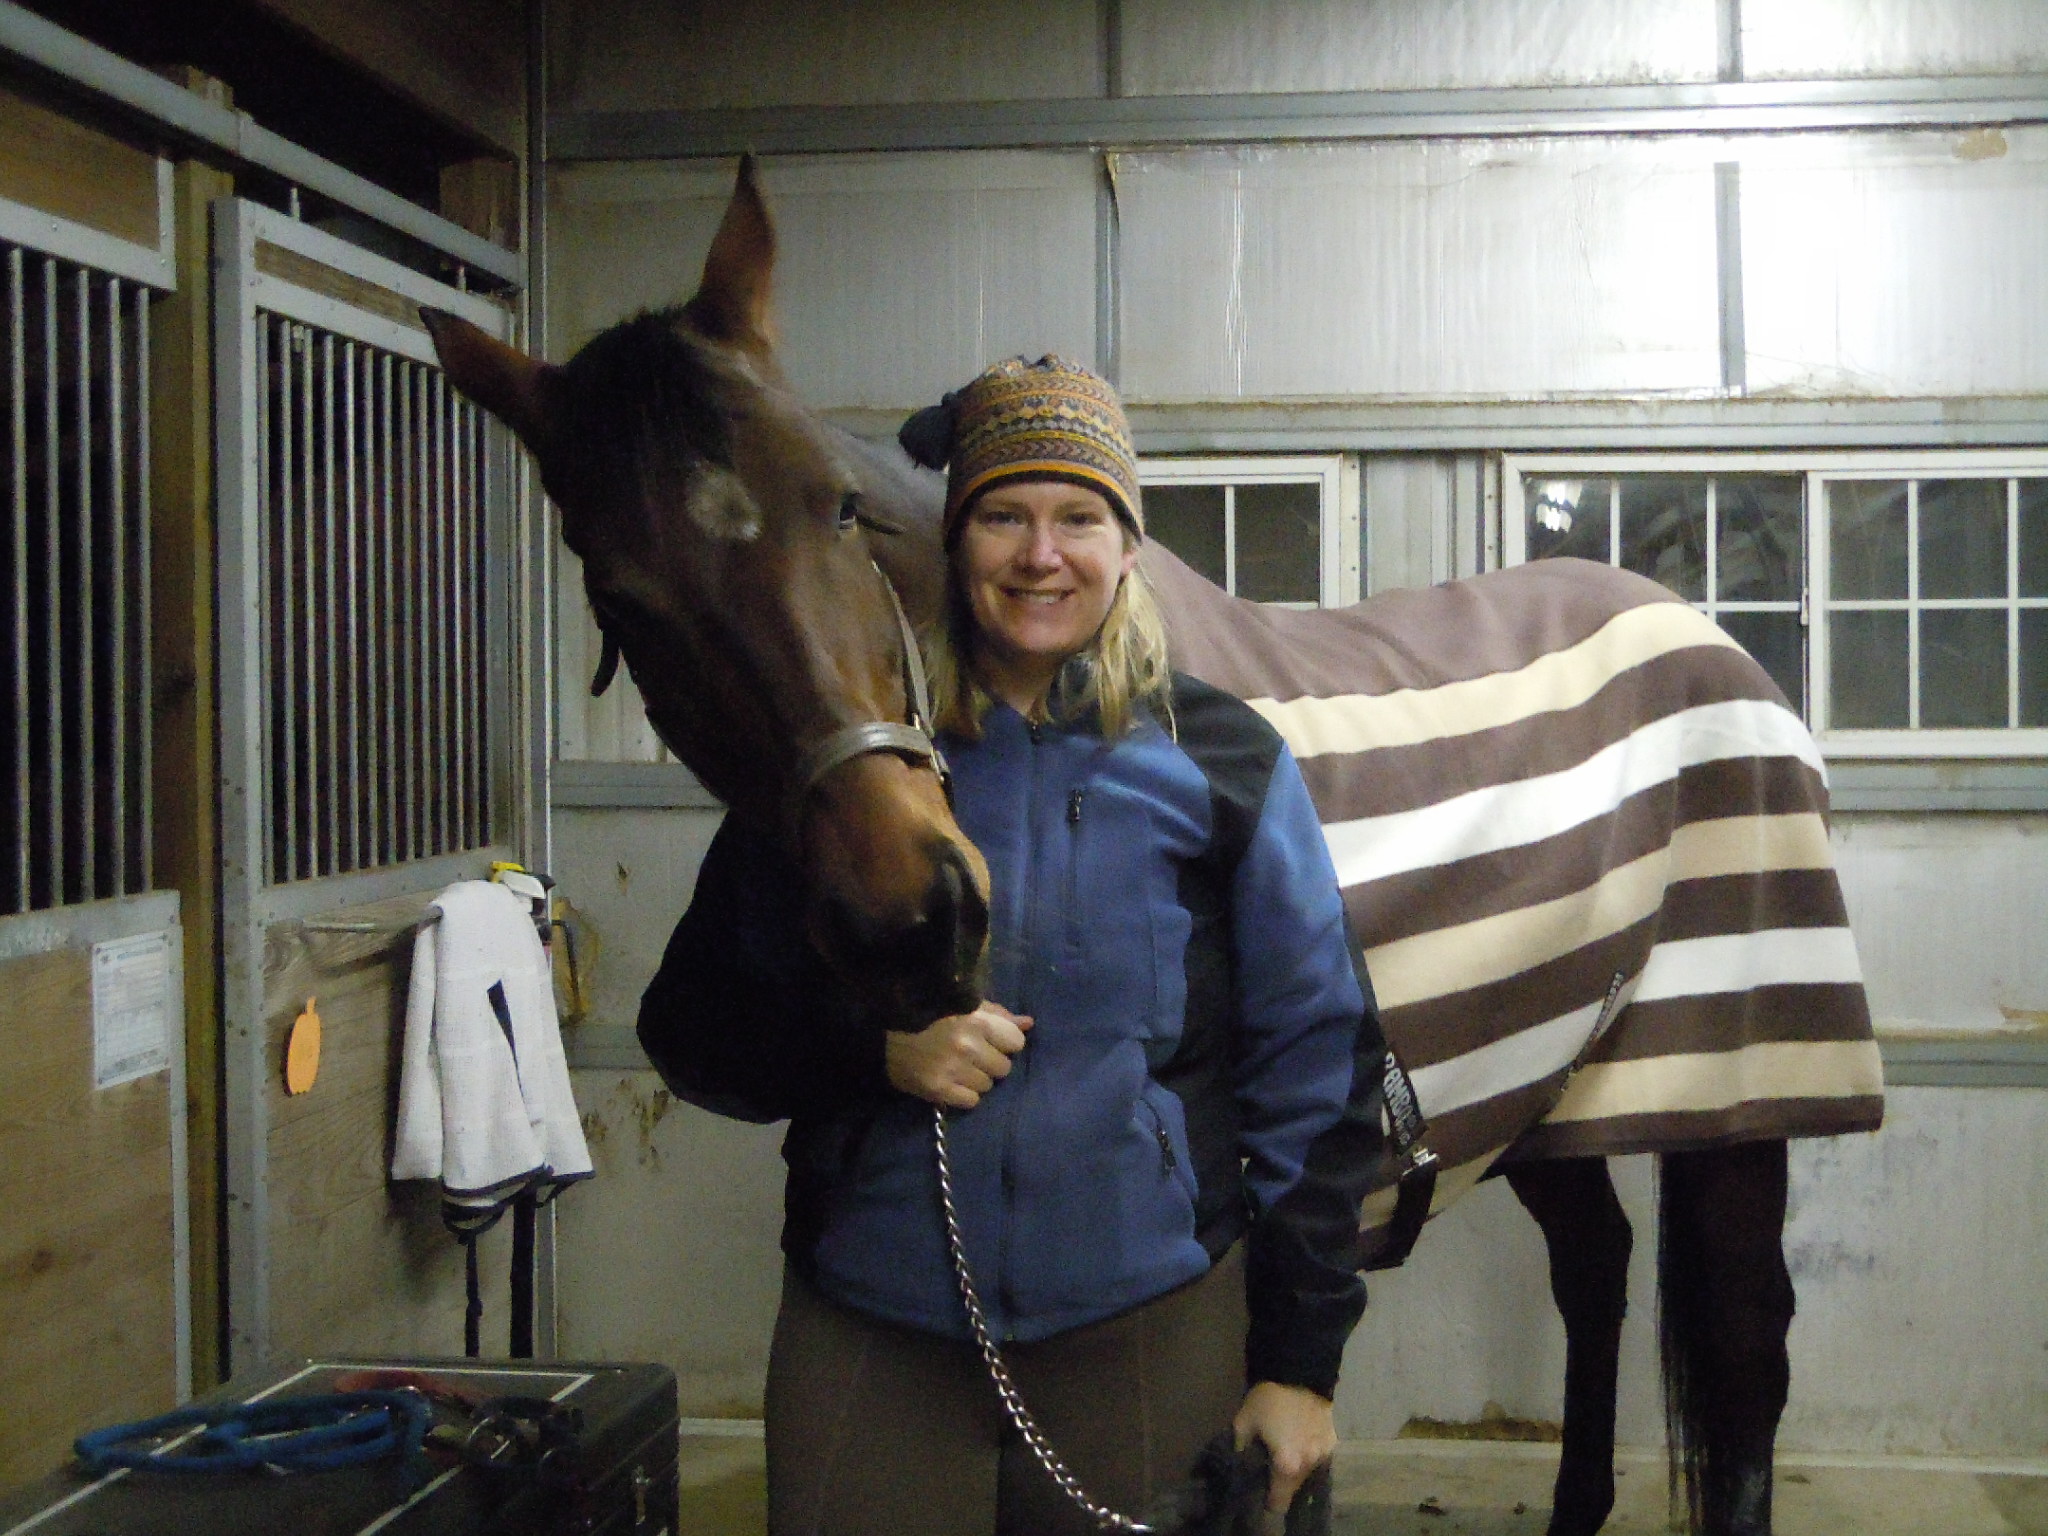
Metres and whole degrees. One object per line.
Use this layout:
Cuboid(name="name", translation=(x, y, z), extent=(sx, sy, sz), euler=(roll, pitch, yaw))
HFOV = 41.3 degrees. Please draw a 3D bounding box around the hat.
Cuboid(name="hat", translation=(-0.001, -0.480, 4.051), extent=(0.343, 0.317, 0.269), euler=(0, -16, -4))
